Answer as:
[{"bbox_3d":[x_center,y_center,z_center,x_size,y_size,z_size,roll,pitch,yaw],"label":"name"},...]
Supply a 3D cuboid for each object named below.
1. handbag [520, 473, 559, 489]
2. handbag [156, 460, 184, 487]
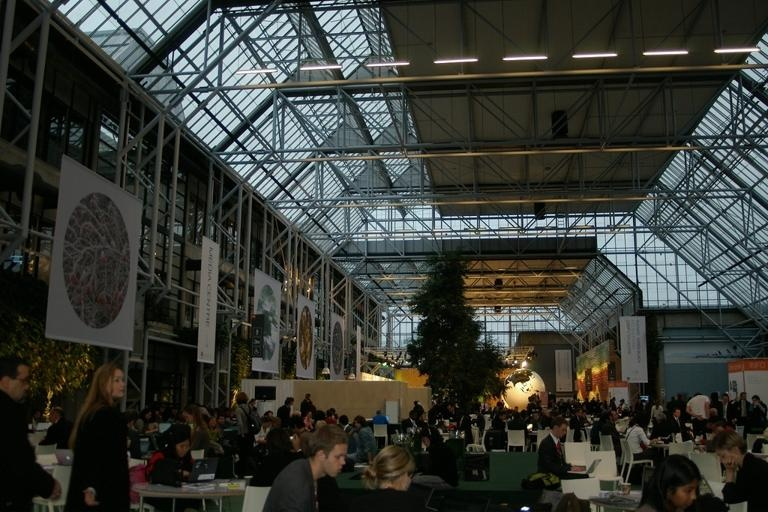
[{"bbox_3d":[3.309,4.746,16.284,0.394,0.192,0.500,5,-11,-33],"label":"handbag"},{"bbox_3d":[-4.008,3.947,14.065,0.661,0.450,0.219,-9,-21,31],"label":"handbag"}]
